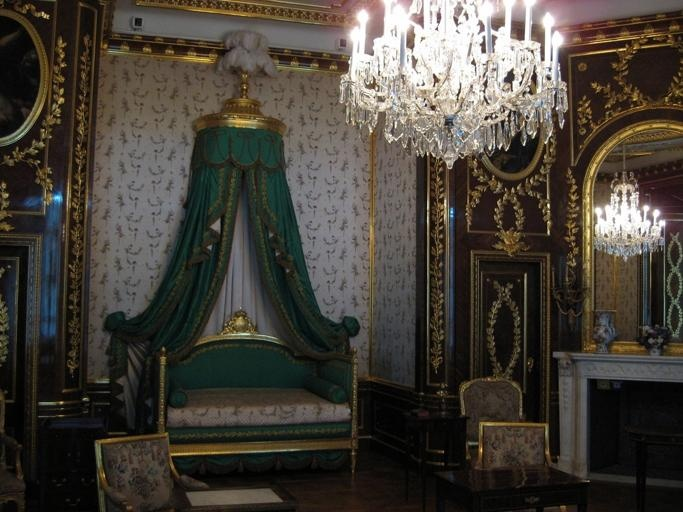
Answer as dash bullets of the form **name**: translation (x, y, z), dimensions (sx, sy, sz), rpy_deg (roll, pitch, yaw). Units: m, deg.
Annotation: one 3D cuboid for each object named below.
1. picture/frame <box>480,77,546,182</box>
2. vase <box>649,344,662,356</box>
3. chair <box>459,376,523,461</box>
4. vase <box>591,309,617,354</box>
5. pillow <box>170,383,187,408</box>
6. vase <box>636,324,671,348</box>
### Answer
- **picture/frame**: translation (1.468, -1.073, 7.114), dimensions (0.824, 0.984, 0.199), rpy_deg (-5, 9, -16)
- **vase**: translation (3.211, 0.960, 8.363), dimensions (0.124, 0.106, 0.075), rpy_deg (2, -2, 17)
- **chair**: translation (1.394, 1.629, 8.293), dimensions (0.625, 1.131, 0.716), rpy_deg (2, -13, -4)
- **vase**: translation (2.780, 0.777, 8.631), dimensions (0.236, 0.430, 0.095), rpy_deg (-2, -5, 21)
- **pillow**: translation (-1.646, 1.391, 8.247), dimensions (0.191, 0.210, 0.354), rpy_deg (1, -5, -12)
- **vase**: translation (3.209, 0.815, 8.398), dimensions (0.245, 0.234, 0.206), rpy_deg (1, 0, -25)
